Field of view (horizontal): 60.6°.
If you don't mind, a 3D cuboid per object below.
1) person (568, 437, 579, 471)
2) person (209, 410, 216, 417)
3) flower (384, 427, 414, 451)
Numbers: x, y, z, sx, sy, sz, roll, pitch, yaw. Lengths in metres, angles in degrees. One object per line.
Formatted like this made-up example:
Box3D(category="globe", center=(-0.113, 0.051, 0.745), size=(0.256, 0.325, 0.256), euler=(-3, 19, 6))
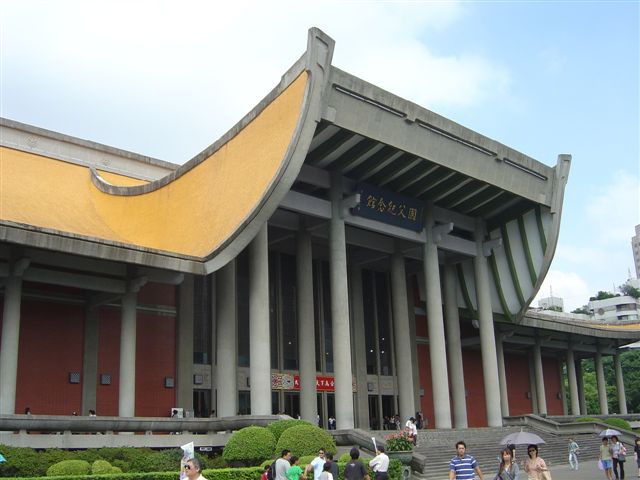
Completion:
Box3D(category="person", center=(10.495, 8.903, 22.767), size=(0.397, 1.177, 1.684), euler=(-9, -23, 21))
Box3D(category="person", center=(-4.938, 7.990, 25.314), size=(0.251, 0.422, 1.370), euler=(4, -23, -12))
Box3D(category="flower", center=(2.432, 6.390, 17.311), size=(0.742, 0.511, 0.748), euler=(-2, -4, 40))
